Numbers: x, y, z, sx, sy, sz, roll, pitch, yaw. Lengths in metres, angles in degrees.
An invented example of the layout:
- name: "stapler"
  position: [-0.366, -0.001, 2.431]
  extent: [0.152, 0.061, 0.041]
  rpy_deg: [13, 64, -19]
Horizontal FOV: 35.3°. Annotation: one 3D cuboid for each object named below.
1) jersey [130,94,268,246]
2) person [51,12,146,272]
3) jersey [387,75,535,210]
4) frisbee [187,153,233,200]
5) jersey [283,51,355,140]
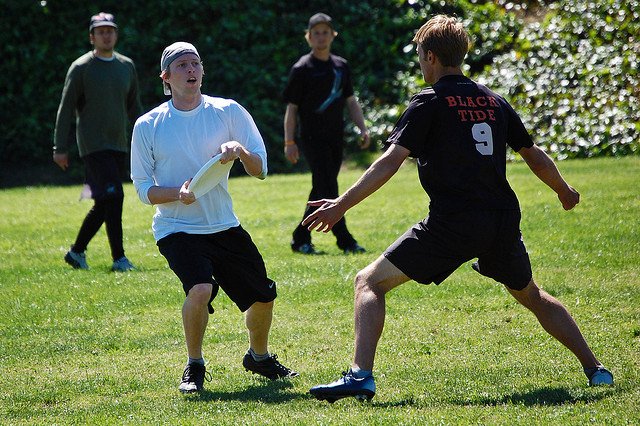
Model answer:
- name: "jersey"
  position: [-1.308, -0.552, 11.171]
  extent: [1.530, 1.503, 1.239]
  rpy_deg: [-5, -2, -13]
- name: "person"
  position: [-3.126, -1.004, 14.020]
  extent: [1.151, 3.464, 1.002]
  rpy_deg: [-2, 11, -4]
- name: "jersey"
  position: [1.593, -0.719, 10.927]
  extent: [2.371, 1.617, 0.833]
  rpy_deg: [-4, 2, -31]
- name: "frisbee"
  position: [-1.217, -0.388, 10.909]
  extent: [0.081, 0.479, 0.439]
  rpy_deg: [50, 28, 12]
- name: "jersey"
  position: [0.029, -1.726, 14.786]
  extent: [1.203, 1.258, 0.696]
  rpy_deg: [-9, 15, -26]
